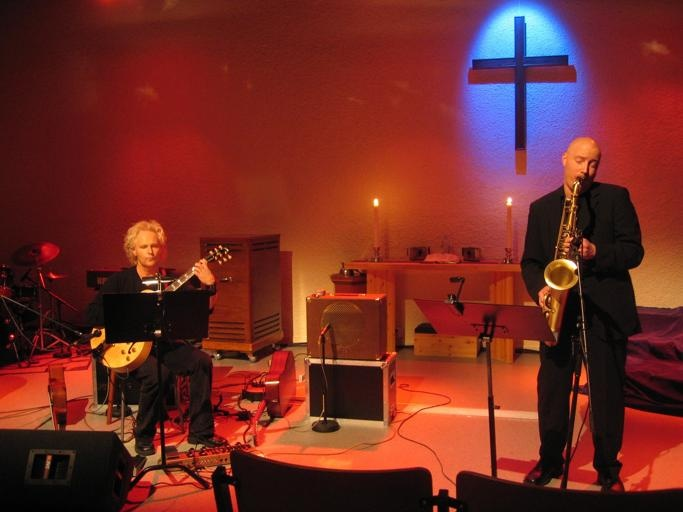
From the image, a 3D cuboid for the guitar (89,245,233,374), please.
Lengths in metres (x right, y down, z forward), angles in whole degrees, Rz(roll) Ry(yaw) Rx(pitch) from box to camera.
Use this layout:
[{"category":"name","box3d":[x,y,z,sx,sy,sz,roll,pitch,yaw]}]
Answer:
[{"category":"guitar","box3d":[-1.432,0.440,4.823,1.010,0.965,0.600,-2,-1,-2]}]

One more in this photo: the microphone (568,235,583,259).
[{"category":"microphone","box3d":[1.404,-0.059,3.877,0.094,0.108,0.122,-2,43,40]}]

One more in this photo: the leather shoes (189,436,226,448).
[{"category":"leather shoes","box3d":[-1.003,1.379,4.770,0.293,0.114,0.109,-1,-2,11]}]

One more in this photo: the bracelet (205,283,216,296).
[{"category":"bracelet","box3d":[-0.989,0.251,4.698,0.102,0.108,0.127,-1,-3,-2]}]

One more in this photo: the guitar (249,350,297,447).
[{"category":"guitar","box3d":[-0.581,1.120,5.211,0.276,0.554,0.887,-2,-2,9]}]

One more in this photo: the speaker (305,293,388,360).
[{"category":"speaker","box3d":[0.105,0.566,5.220,0.806,0.682,0.462,0,-2,11]}]

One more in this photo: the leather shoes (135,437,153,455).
[{"category":"leather shoes","box3d":[-1.447,1.409,4.692,0.122,0.083,0.134,-1,-2,-31]}]

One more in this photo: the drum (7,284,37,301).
[{"category":"drum","box3d":[-3.642,0.420,7.232,0.294,0.203,0.165,2,3,3]}]

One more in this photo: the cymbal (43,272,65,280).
[{"category":"cymbal","box3d":[-3.275,0.231,7.298,0.185,0.089,0.190,2,-1,32]}]
